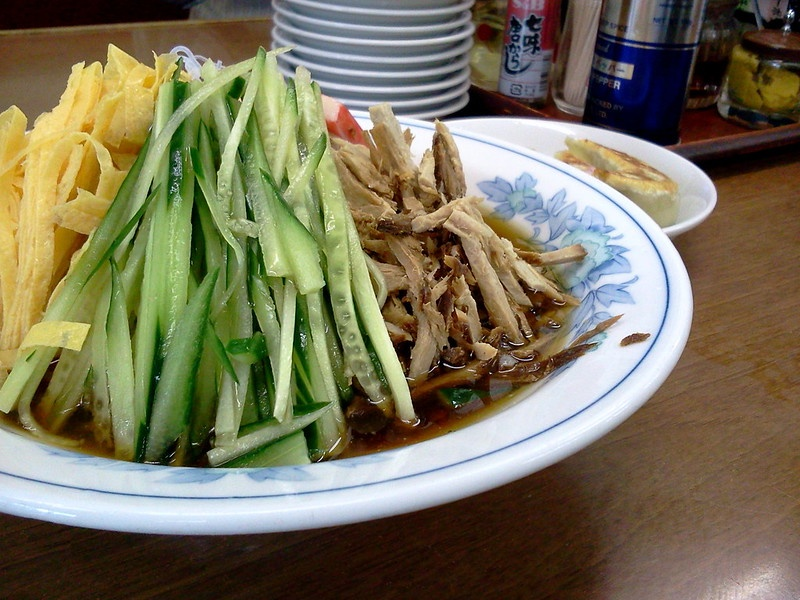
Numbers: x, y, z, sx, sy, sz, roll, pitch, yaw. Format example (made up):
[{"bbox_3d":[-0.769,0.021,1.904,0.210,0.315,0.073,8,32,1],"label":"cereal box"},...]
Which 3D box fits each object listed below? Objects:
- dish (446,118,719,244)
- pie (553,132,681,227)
[{"bbox_3d":[0.644,-0.379,1.896,0.547,0.103,0.516,-3,36,-5],"label":"dish"},{"bbox_3d":[0.611,-0.272,1.829,0.308,0.104,0.277,12,30,-26],"label":"pie"}]
